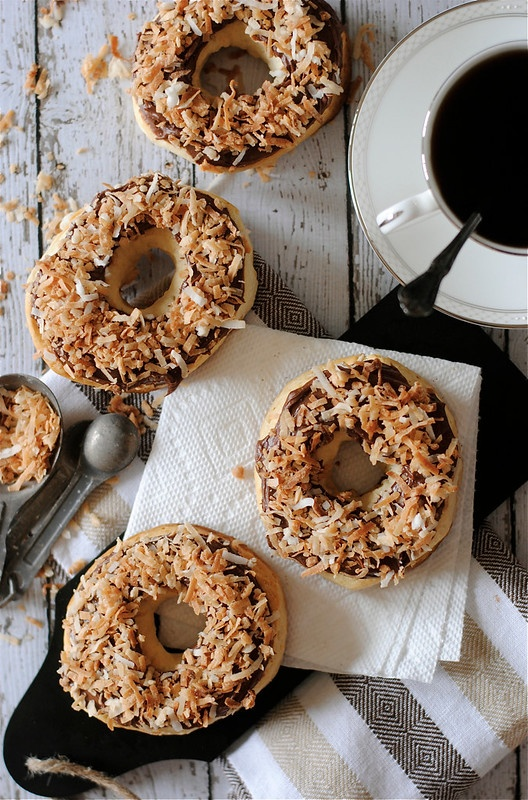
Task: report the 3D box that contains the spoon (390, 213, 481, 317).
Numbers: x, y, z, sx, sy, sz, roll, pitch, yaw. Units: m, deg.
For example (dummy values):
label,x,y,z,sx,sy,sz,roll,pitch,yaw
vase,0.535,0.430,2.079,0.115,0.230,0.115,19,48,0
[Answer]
label,x,y,z,sx,sy,sz,roll,pitch,yaw
spoon,0.303,-0.226,1.398,0.077,0.026,0.225,41,105,3
